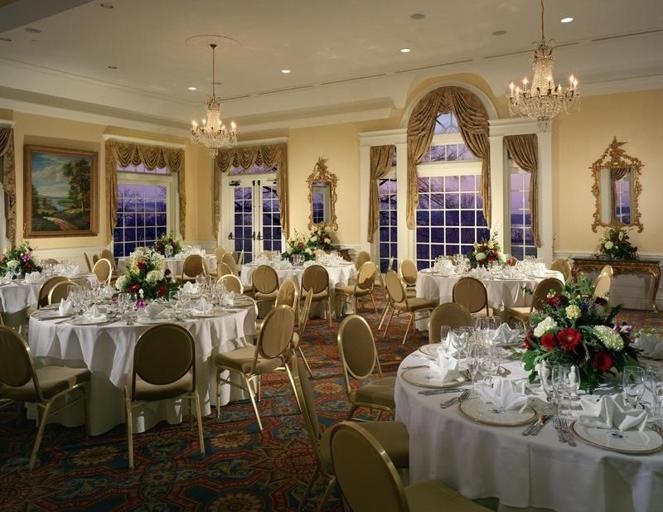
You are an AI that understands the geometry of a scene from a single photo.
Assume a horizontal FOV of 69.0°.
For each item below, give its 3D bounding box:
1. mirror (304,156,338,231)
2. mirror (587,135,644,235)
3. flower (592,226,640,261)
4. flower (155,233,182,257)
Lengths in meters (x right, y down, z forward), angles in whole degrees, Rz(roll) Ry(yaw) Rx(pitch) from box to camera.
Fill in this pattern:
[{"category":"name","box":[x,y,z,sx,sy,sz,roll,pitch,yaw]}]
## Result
[{"category":"mirror","box":[-0.235,-1.572,12.306,0.917,1.803,0.209,5,9,31]},{"category":"mirror","box":[5.506,-1.350,9.309,0.887,1.781,0.242,3,8,16]},{"category":"flower","box":[5.468,-0.168,9.226,0.599,0.536,0.647,-1,-1,-30]},{"category":"flower","box":[-3.754,-0.252,11.024,0.448,0.570,0.506,4,-20,-24]}]
